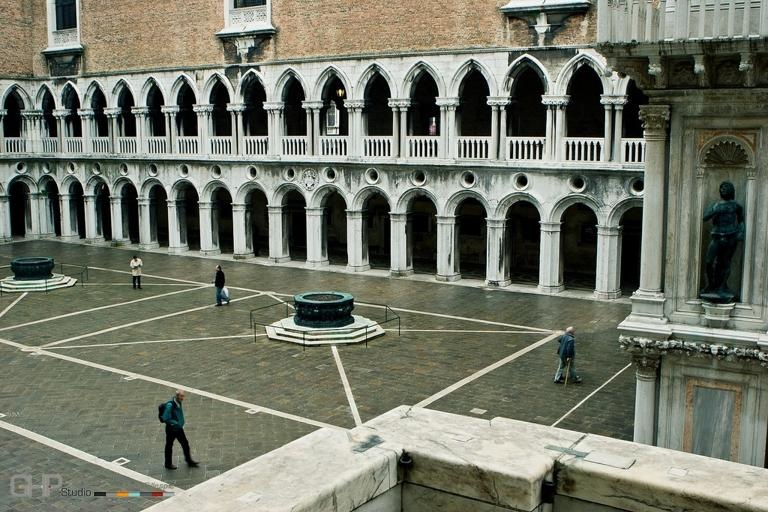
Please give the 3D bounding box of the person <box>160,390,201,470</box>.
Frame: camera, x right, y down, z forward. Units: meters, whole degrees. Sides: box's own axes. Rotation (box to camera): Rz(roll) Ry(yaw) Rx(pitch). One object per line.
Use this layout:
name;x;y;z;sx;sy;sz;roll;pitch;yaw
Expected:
person;-4.407;3.668;20.325;0.686;1.671;0.703;-3;14;-12

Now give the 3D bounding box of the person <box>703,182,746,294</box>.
person;6.567;-0.298;18.361;0.761;2.240;0.437;2;14;9

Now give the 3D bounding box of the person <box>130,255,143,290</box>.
person;-8.985;0.644;34.575;0.325;1.161;0.751;-4;14;-15

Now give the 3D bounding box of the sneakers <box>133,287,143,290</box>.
sneakers;-9.017;1.200;34.707;0.245;0.073;0.168;5;-2;-10

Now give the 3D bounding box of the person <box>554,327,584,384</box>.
person;4.840;2.466;24.819;0.676;1.533;1.217;2;13;11

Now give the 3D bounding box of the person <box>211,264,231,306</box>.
person;-5.469;0.984;32.123;0.486;1.430;0.920;-3;14;-10
